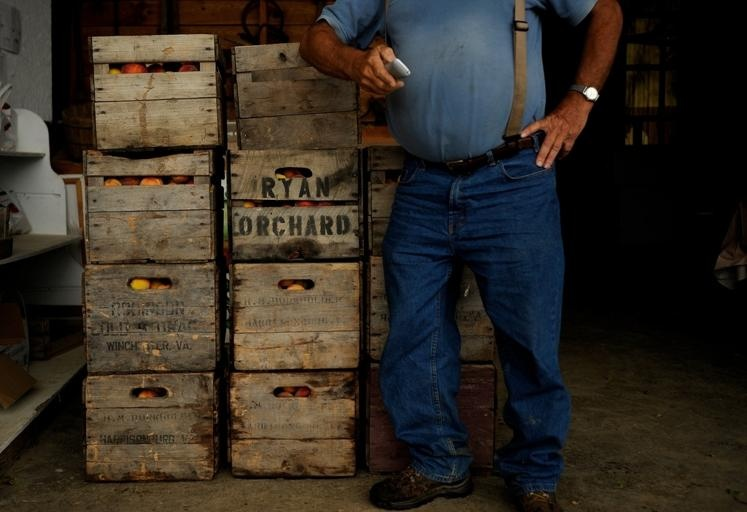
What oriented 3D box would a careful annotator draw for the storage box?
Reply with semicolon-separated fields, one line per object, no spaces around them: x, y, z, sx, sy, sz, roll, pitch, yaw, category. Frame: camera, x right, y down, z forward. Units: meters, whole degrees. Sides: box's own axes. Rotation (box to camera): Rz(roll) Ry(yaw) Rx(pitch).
-0.516;0.025;5.526;3.377;2.593;1.660;-1;4;-2;storage box

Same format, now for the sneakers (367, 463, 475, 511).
0.275;1.391;5.475;0.661;0.241;0.218;0;4;-6;sneakers
